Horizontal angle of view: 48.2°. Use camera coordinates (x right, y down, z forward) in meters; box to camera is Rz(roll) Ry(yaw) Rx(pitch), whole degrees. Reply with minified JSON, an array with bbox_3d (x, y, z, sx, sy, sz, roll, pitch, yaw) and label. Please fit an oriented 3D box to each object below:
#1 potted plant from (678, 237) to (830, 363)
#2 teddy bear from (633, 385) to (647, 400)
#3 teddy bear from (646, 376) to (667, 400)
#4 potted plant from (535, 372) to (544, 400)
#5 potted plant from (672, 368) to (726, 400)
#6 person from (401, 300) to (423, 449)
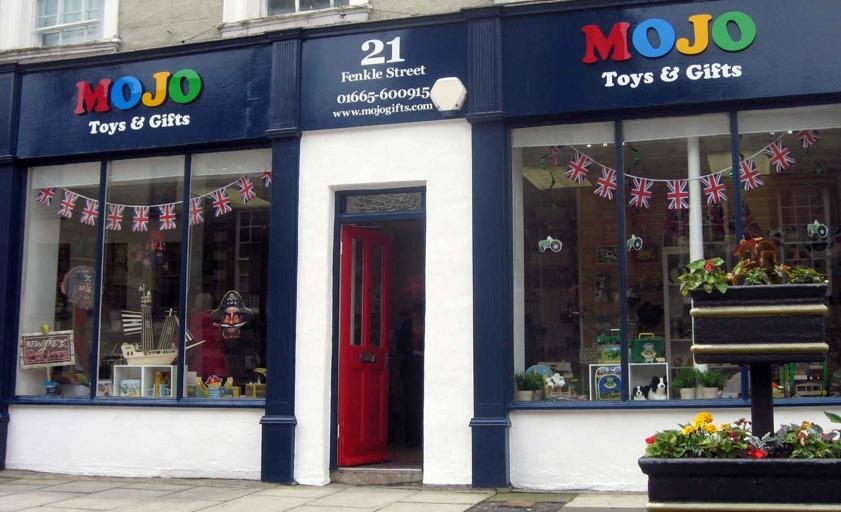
[{"bbox_3d":[3.594,0.476,10.286,1.500,1.276,1.387,-1,-7,9],"label":"potted plant"},{"bbox_3d":[2.997,1.835,12.727,0.152,0.179,0.198,-7,-24,26],"label":"teddy bear"},{"bbox_3d":[3.223,1.766,12.695,0.213,0.262,0.324,2,-37,-2],"label":"teddy bear"},{"bbox_3d":[1.666,1.790,12.975,0.141,0.328,0.077,-1,4,6],"label":"potted plant"},{"bbox_3d":[3.728,1.709,12.654,0.752,0.466,0.433,0,-10,2],"label":"potted plant"},{"bbox_3d":[-0.143,2.043,16.313,0.371,2.259,0.940,-2,4,-1],"label":"person"}]
